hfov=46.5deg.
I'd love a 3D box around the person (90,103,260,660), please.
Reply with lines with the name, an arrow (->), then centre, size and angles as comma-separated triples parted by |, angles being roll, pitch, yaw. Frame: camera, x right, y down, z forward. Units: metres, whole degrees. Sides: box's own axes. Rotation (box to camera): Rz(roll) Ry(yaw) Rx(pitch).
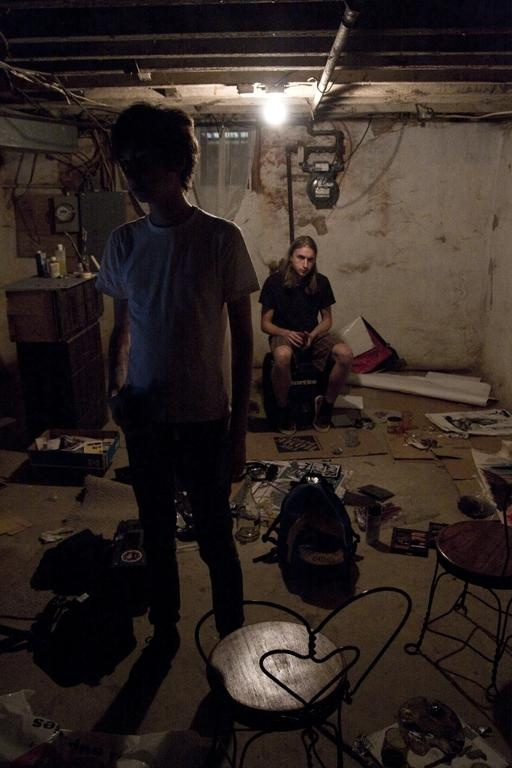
person -> -0.242, 0.136, 1.950 | 0.656, 1.921, 0.353 | 10, 17, 31

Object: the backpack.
backpack -> 0.261, 0.713, 2.888 | 0.365, 0.496, 0.534 | 1, 47, -7

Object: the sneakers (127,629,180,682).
sneakers -> -0.365, 1.026, 2.306 | 0.111, 0.190, 0.195 | 10, 48, 26

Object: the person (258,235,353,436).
person -> 0.389, -0.426, 4.856 | 0.644, 1.480, 0.655 | -1, 15, -10

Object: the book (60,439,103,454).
book -> -1.138, 0.416, 3.961 | 0.179, 0.068, 0.140 | 4, 10, 0

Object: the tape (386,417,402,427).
tape -> 1.089, 0.301, 4.717 | 0.078, 0.060, 0.080 | -1, 5, 18

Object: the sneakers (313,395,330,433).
sneakers -> 0.530, 0.251, 4.808 | 0.099, 0.129, 0.308 | -1, 36, 0

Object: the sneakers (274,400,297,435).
sneakers -> 0.225, 0.281, 4.725 | 0.162, 0.228, 0.095 | 4, 15, 8

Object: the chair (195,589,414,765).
chair -> 0.159, 0.941, 1.870 | 0.494, 0.826, 0.476 | -2, 37, -4
